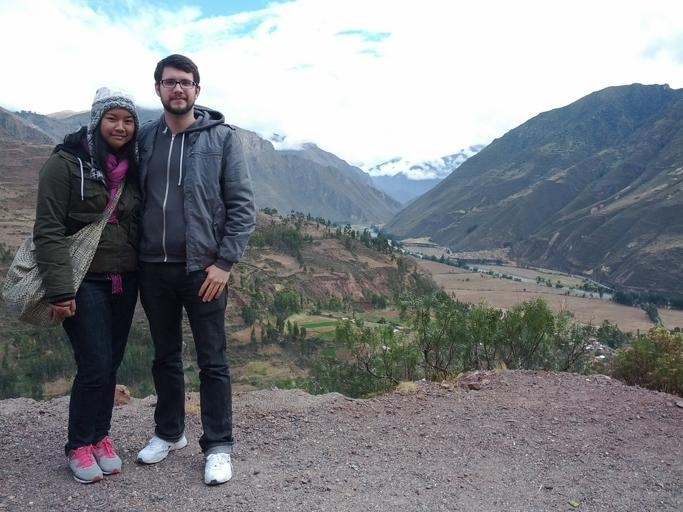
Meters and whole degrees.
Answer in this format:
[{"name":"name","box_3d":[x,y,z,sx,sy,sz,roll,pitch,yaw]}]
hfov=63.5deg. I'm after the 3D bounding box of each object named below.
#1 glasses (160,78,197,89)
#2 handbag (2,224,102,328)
[{"name":"glasses","box_3d":[-2.210,-2.363,7.574,0.451,0.156,0.106,3,-2,-11]},{"name":"handbag","box_3d":[-3.790,0.223,7.220,1.249,1.027,0.411,2,-2,7]}]
